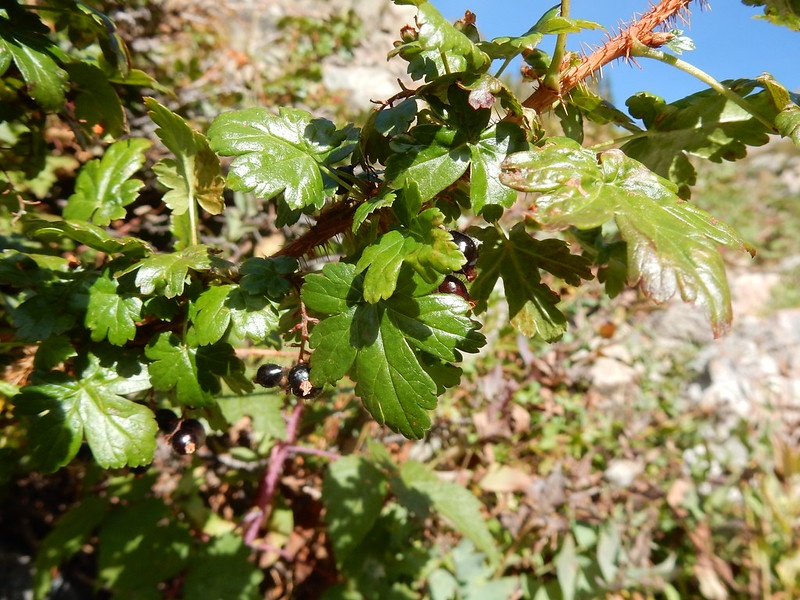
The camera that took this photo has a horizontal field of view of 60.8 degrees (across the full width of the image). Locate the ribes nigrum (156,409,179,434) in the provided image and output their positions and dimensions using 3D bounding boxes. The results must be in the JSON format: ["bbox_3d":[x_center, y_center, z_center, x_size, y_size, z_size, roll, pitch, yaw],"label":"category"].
[{"bbox_3d":[-0.941,0.476,2.711,0.087,0.049,0.105,-22,65,-24],"label":"ribes nigrum"}]

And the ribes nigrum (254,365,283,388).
[{"bbox_3d":[-0.490,0.281,2.531,0.107,0.074,0.080,0,-4,-27],"label":"ribes nigrum"}]

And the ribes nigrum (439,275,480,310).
[{"bbox_3d":[0.219,-0.031,2.512,0.139,0.079,0.256,23,14,11],"label":"ribes nigrum"}]
